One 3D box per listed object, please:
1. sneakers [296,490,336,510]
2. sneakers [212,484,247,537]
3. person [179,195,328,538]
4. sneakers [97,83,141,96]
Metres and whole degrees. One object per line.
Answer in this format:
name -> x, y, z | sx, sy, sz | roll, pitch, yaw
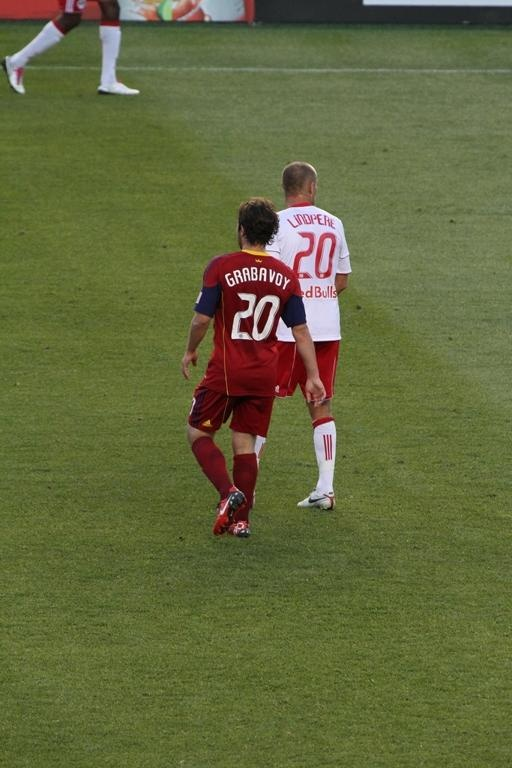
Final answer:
sneakers -> 0.280, 0.525, 7.231 | 0.190, 0.106, 0.068 | 5, 2, 27
sneakers -> -0.120, 0.509, 6.641 | 0.068, 0.198, 0.096 | -11, 57, -42
person -> -0.008, -0.092, 6.858 | 0.534, 1.355, 0.405 | -12, 21, -33
sneakers -> -1.087, -2.381, 13.021 | 0.325, 0.149, 0.127 | -5, 18, -14
